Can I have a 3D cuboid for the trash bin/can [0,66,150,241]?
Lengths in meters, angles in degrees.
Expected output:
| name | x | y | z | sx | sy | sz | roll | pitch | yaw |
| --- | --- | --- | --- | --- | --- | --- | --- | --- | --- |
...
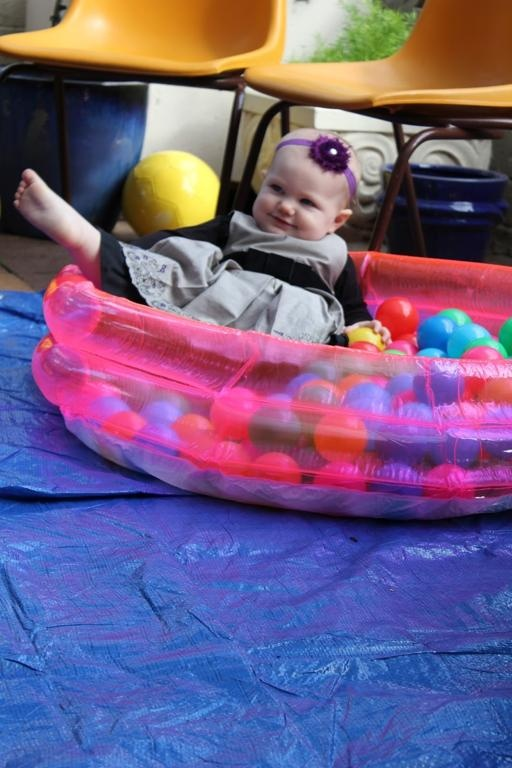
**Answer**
| name | x | y | z | sx | sy | sz | roll | pitch | yaw |
| --- | --- | --- | --- | --- | --- | --- | --- | --- | --- |
| trash bin/can | -0.535 | -0.681 | 2.274 | 0.550 | 0.406 | 0.563 | 8 | 7 | -18 |
